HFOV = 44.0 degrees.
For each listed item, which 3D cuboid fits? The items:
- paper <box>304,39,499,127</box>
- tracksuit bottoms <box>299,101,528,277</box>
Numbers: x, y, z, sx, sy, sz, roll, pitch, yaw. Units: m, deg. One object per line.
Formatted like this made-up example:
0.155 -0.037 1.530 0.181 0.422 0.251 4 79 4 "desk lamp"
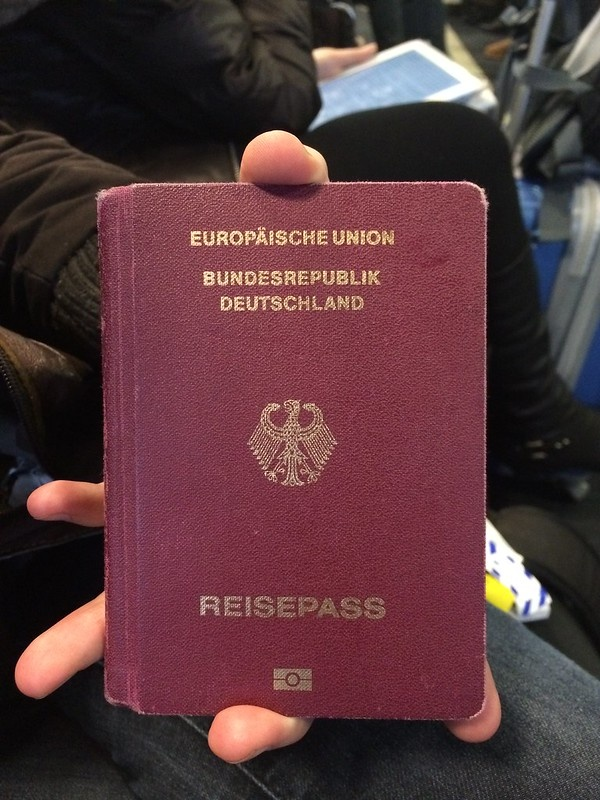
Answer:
0.128 -0.379 0.885 0.132 0.028 0.121 -22 -49 5 "paper"
0.166 -0.258 0.911 0.233 0.186 0.050 -1 20 -4 "tracksuit bottoms"
